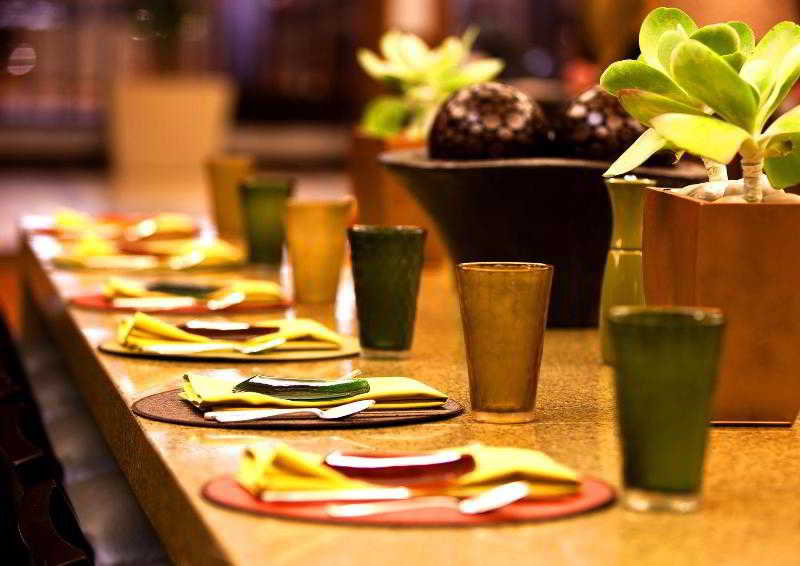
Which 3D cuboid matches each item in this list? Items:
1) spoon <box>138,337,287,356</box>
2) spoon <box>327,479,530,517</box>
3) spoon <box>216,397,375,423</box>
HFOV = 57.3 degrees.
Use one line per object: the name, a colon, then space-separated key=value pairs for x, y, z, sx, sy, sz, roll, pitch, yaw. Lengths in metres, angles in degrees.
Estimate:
spoon: x=-0.203 y=0.069 z=0.770 sx=0.166 sy=0.021 sz=0.043 roll=1 pitch=-1 yaw=-12
spoon: x=0.016 y=0.112 z=0.378 sx=0.098 sy=0.012 sz=0.015 roll=0 pitch=1 yaw=-7
spoon: x=-0.082 y=0.098 z=0.556 sx=0.089 sy=0.009 sz=0.017 roll=0 pitch=1 yaw=-12
